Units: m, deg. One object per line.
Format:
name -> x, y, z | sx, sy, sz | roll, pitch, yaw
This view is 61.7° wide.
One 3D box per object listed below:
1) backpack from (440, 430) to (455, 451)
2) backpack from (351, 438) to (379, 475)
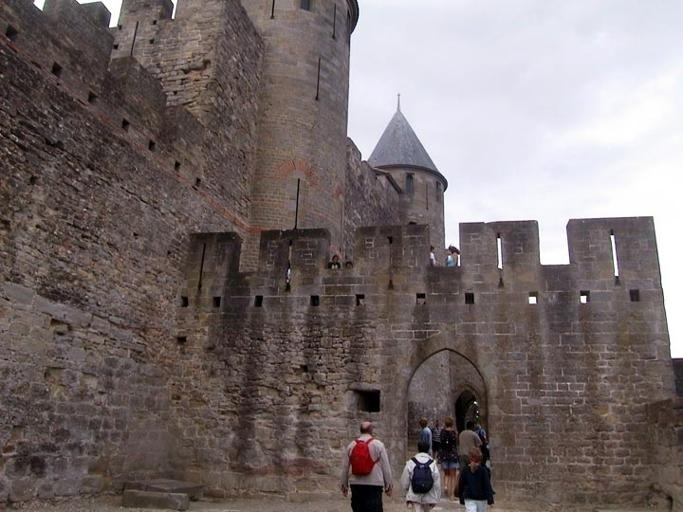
backpack -> 2.389, 4.186, 12.907 | 0.400, 0.588, 0.311 | -1, -20, 9
backpack -> 0.327, 3.302, 9.334 | 0.344, 0.513, 0.520 | -5, -29, 11
